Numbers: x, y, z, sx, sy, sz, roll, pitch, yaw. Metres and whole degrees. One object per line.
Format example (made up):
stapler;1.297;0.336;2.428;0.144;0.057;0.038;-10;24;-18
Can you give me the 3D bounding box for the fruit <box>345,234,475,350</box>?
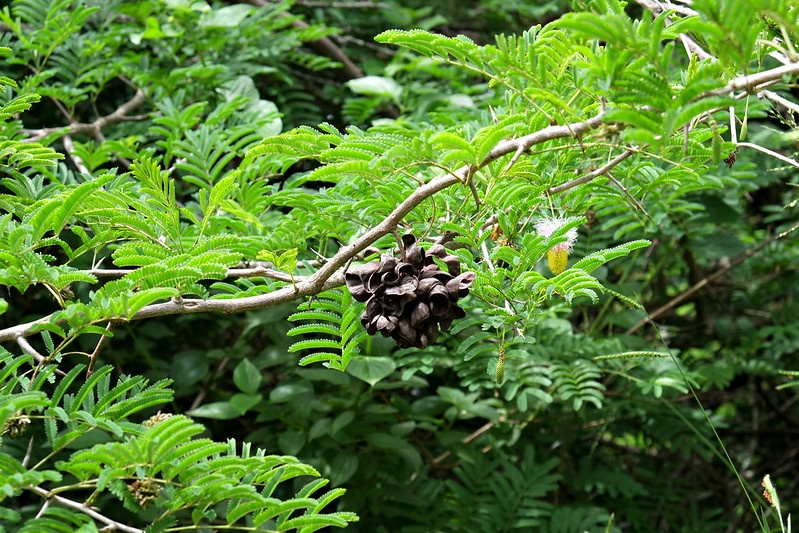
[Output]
fruit;0.023;0.097;2.868;0.352;0.353;0.312;-46;-7;-11
